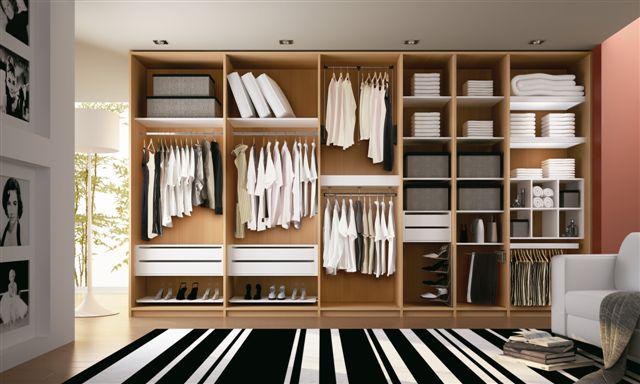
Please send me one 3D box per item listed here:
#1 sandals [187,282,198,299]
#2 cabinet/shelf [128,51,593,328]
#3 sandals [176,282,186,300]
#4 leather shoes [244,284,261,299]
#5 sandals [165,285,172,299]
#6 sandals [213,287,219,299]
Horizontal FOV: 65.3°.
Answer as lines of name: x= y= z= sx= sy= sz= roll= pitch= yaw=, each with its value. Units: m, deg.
sandals: x=-1.837 y=1.439 z=7.207 sx=0.129 sy=0.229 sz=0.040 roll=8 pitch=-9 yaw=-7
cabinet/shelf: x=0.641 y=-0.145 z=7.256 sx=6.415 sy=3.695 sz=1.006 roll=0 pitch=6 yaw=0
sandals: x=-2.014 y=1.435 z=7.195 sx=0.126 sy=0.222 sz=0.040 roll=23 pitch=-13 yaw=-39
leather shoes: x=-0.975 y=1.470 z=7.269 sx=0.205 sy=0.176 sz=0.256 roll=-2 pitch=-14 yaw=6
sandals: x=-2.200 y=1.446 z=7.192 sx=0.097 sy=0.184 sz=0.291 roll=-2 pitch=6 yaw=-14
sandals: x=-1.502 y=1.447 z=7.136 sx=0.090 sy=0.159 sz=0.173 roll=-2 pitch=6 yaw=-14
